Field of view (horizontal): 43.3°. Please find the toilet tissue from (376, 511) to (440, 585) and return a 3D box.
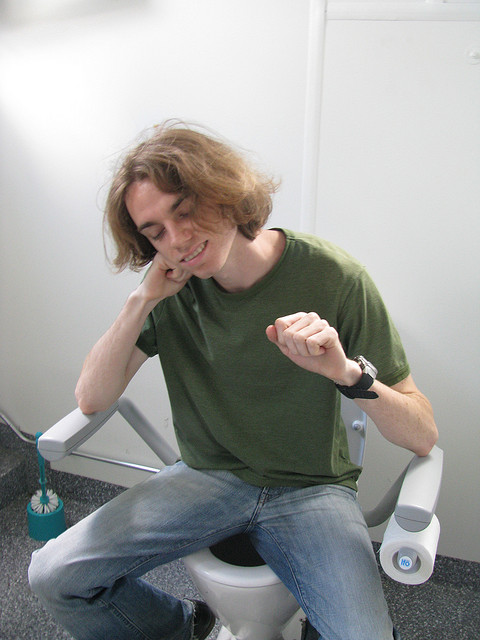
[{"bbox_3d":[0.275,0.364,0.983,0.081,0.115,0.101,11,32,16],"label":"toilet tissue"}]
